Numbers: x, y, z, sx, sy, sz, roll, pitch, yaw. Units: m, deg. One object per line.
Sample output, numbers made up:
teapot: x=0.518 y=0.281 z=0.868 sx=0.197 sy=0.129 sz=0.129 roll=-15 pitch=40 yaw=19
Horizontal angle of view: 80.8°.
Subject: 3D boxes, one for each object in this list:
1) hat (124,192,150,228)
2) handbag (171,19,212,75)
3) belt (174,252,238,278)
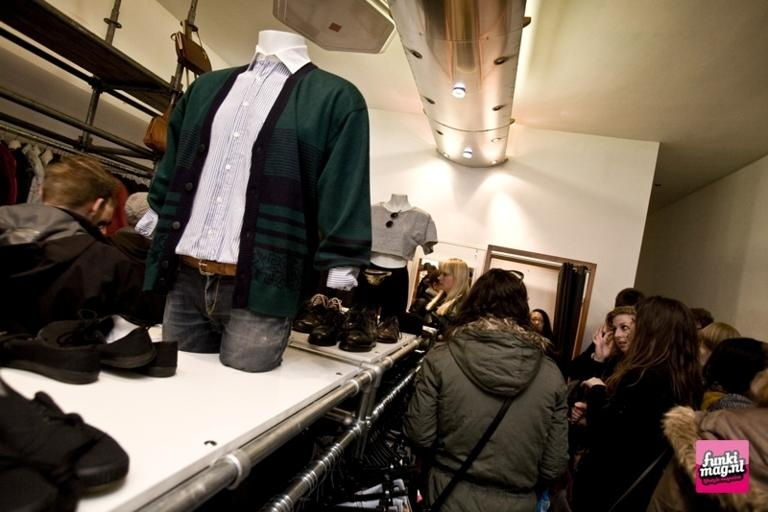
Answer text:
hat: x=-1.768 y=-0.324 z=3.307 sx=0.237 sy=0.223 sz=0.196 roll=7 pitch=6 yaw=37
handbag: x=-1.506 y=-1.633 z=3.535 sx=0.140 sy=0.404 sz=0.435 roll=-5 pitch=1 yaw=7
belt: x=-0.713 y=0.044 z=1.797 sx=0.241 sy=0.083 sz=0.042 roll=11 pitch=-2 yaw=9
